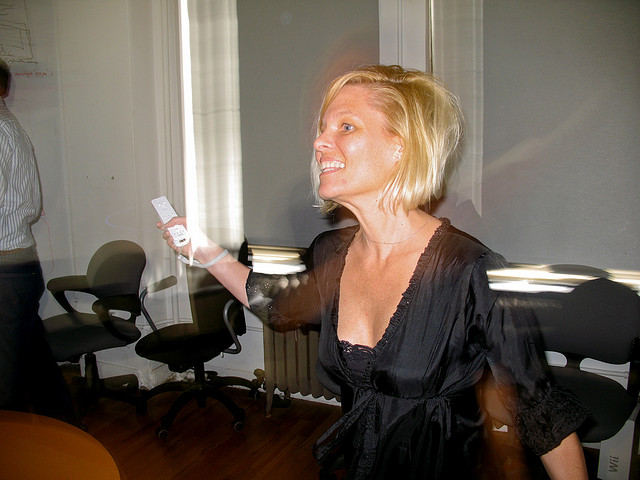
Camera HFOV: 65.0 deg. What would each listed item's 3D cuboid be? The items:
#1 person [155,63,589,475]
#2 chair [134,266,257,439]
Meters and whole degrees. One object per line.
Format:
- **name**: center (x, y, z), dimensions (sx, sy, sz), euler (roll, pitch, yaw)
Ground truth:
- **person**: center (0.187, 0.108, 1.504), dimensions (1.108, 1.240, 0.405), euler (3, 13, 29)
- **chair**: center (-0.769, 0.530, 2.992), dimensions (0.614, 1.071, 0.663), euler (0, 8, 9)
